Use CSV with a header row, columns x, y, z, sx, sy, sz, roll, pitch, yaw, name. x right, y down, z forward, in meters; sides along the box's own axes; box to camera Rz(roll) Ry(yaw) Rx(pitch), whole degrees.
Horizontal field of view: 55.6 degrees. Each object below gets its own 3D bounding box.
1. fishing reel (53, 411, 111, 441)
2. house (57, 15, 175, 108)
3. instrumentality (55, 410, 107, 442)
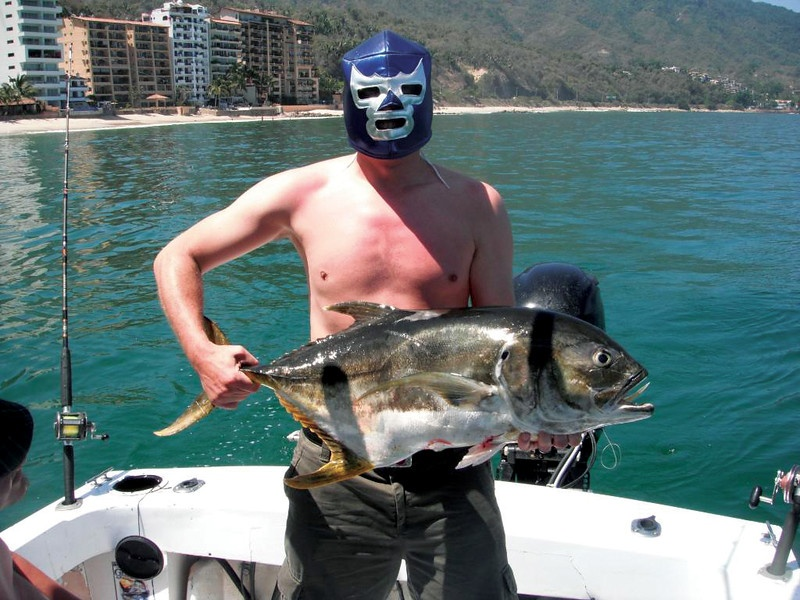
x,y,z,sx,sy,sz,roll,pitch,yaw,name
-2.122,0.817,4.843,0.476,0.136,0.248,1,3,-5,fishing reel
-33.548,-30.571,97.295,18.606,11.584,9.674,14,27,25,house
-1.949,0.817,4.860,0.484,0.137,0.256,1,3,-6,instrumentality
